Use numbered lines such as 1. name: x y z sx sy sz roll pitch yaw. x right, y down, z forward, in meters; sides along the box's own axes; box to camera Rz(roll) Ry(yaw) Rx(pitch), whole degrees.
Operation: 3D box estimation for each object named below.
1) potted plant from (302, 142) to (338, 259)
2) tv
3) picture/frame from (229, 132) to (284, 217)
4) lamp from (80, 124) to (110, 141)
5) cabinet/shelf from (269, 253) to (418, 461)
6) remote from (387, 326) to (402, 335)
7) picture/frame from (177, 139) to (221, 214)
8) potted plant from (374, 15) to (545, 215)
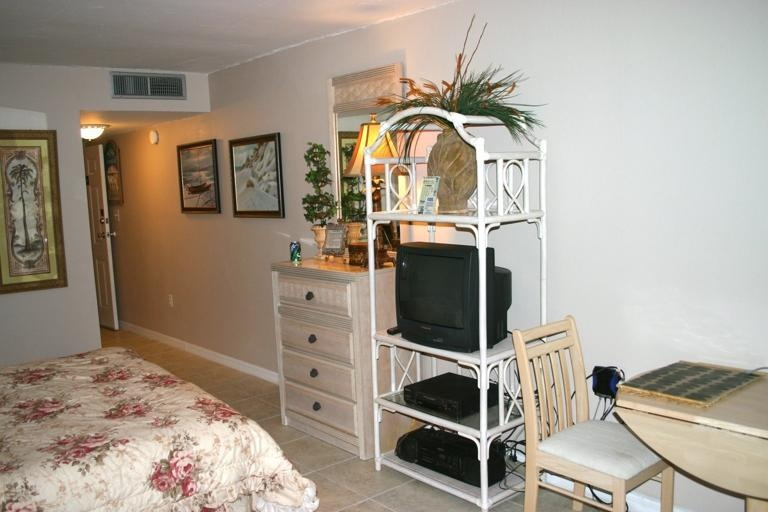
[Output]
1. potted plant: -0.559 -0.520 4.720 0.285 0.951 0.631 -3 8 -8
2. tv: 0.507 0.182 3.667 0.737 0.625 0.697 5 8 43
3. picture/frame: -1.265 -0.838 5.482 0.907 0.890 0.066 4 10 44
4. lamp: -3.475 -1.508 6.515 0.274 0.157 0.401 -4 7 -19
5. cabinet/shelf: -0.265 0.763 4.086 1.406 1.678 0.794 6 8 44
6. remote: 0.083 0.528 3.850 0.068 0.022 0.073 -8 13 -42
7. picture/frame: -2.083 -0.923 6.152 0.090 0.767 0.821 -7 11 -35
8. potted plant: 0.547 -0.916 4.194 1.373 1.356 1.291 -8 14 -42
